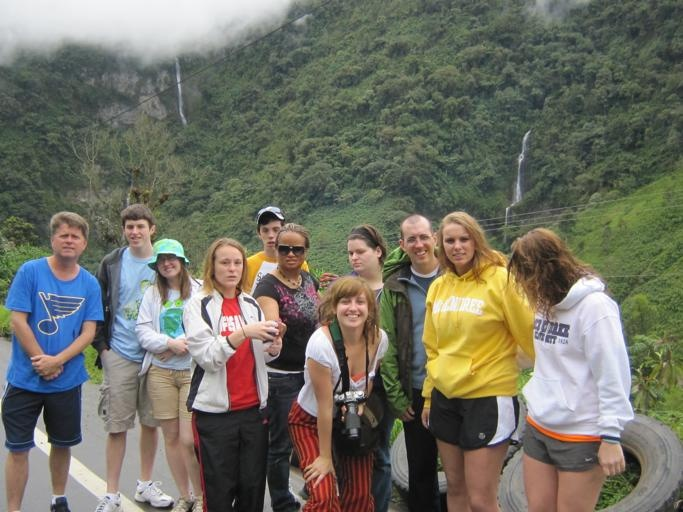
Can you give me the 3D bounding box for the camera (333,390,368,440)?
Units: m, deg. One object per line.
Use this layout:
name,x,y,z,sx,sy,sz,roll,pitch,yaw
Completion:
camera,0.072,1.161,4.391,0.277,0.309,0.138,-5,-19,-2

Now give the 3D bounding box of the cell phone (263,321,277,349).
cell phone,-0.525,0.607,4.636,0.136,0.153,0.179,0,-31,3

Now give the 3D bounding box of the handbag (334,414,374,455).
handbag,0.097,1.364,4.562,0.322,0.331,0.119,5,-17,-8

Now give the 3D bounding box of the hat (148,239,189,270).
hat,-1.617,-0.026,5.599,0.341,0.291,0.470,-2,0,-18

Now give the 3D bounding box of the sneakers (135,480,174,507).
sneakers,-1.691,2.148,5.471,0.423,0.199,0.166,7,-1,20
